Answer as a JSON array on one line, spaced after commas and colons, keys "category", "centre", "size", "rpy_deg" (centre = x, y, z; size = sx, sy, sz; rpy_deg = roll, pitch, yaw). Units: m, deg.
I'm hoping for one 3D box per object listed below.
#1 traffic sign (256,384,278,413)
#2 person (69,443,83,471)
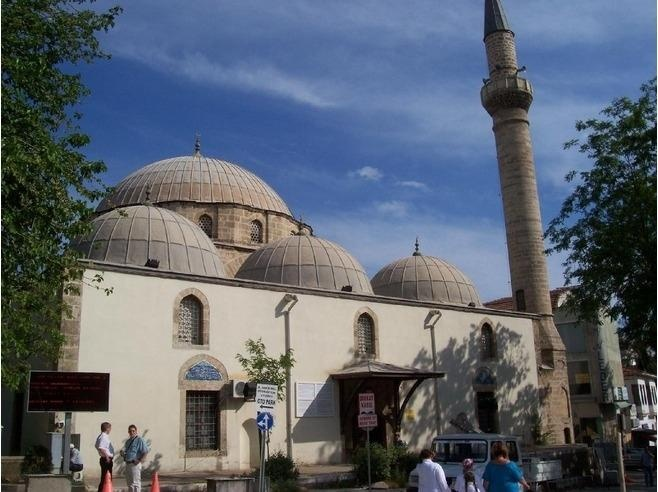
[{"category": "traffic sign", "centre": [-1.457, 3.472, 16.692], "size": [0.061, 0.936, 0.812], "rpy_deg": [0, 0, 40]}, {"category": "person", "centre": [-6.526, 5.408, 18.627], "size": [0.299, 0.685, 0.980], "rpy_deg": [3, -18, -18]}]
